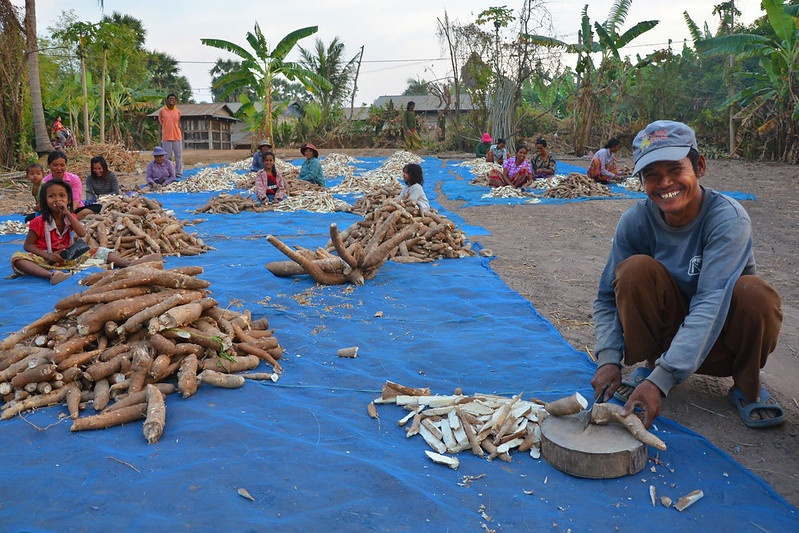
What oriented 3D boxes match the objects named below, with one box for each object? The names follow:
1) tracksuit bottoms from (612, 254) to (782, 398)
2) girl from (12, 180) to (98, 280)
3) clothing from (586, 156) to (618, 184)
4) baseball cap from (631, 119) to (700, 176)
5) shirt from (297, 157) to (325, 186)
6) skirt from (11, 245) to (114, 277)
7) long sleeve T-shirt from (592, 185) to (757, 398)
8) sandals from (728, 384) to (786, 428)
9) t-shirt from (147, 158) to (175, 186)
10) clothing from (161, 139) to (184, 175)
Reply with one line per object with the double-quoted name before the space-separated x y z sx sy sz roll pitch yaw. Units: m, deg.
"tracksuit bottoms" 2.486 0.475 5.288 1.169 0.859 1.280 13 -10 18
"girl" -4.199 -0.496 7.845 1.059 1.191 1.214 -1 24 -37
"clothing" 4.921 -2.287 14.705 0.697 0.383 0.647 14 13 35
"baseball cap" 2.082 -0.960 4.788 0.500 0.303 0.661 -13 3 28
"shirt" -1.972 -2.137 13.773 0.639 0.688 0.655 -2 9 -13
"skirt" -4.158 -0.083 7.693 1.226 0.303 0.396 -6 35 -24
"long sleeve T-shirt" 2.249 0.103 5.039 1.296 1.485 1.613 -1 12 29
"sandals" 2.880 1.098 4.927 0.304 0.177 0.515 -9 16 6
"t-shirt" -5.714 -2.211 14.489 0.668 0.755 0.776 3 14 -8
"clothing" -6.162 -2.943 16.508 0.513 1.100 0.326 0 6 -17
